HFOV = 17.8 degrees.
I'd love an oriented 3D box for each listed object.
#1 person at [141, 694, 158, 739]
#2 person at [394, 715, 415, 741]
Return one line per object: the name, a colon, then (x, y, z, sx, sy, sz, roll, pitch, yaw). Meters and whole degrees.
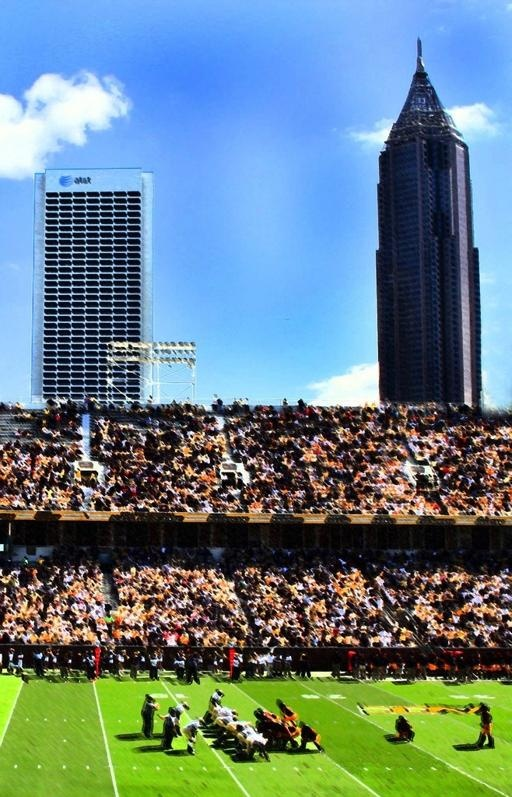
person: (-3.632, 10.897, 56.192, 0.473, 1.664, 1.264, 1, 8, -4)
person: (5.234, 11.491, 57.100, 0.619, 0.875, 1.118, 2, 8, 4)
